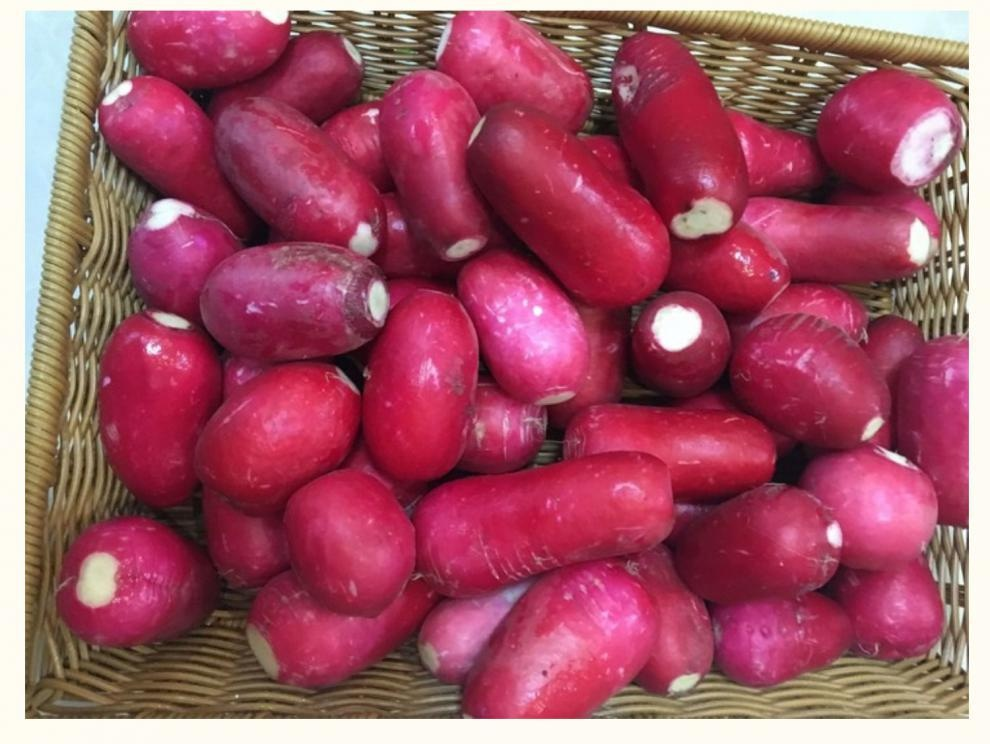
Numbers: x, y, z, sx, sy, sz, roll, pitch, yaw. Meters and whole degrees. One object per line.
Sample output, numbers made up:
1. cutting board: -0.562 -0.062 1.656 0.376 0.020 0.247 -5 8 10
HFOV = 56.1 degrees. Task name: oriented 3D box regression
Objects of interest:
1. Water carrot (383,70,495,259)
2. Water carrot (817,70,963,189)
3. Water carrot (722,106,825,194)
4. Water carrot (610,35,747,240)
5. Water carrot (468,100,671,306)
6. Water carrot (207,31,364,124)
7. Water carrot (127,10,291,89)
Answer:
1. Water carrot: -0.070 -0.244 1.149 0.114 0.115 0.230 -11 84 -16
2. Water carrot: 0.508 -0.328 1.261 0.117 0.146 0.123 -5 20 -31
3. Water carrot: 0.387 -0.289 1.274 0.188 0.078 0.094 3 81 -33
4. Water carrot: 0.224 -0.285 1.184 0.122 0.114 0.269 -31 63 23
5. Water carrot: 0.086 -0.174 1.117 0.273 0.149 0.146 22 89 -19
6. Water carrot: -0.274 -0.399 1.205 0.221 0.105 0.101 2 19 -34
7. Water carrot: -0.365 -0.405 1.185 0.157 0.095 0.100 -7 30 -5
